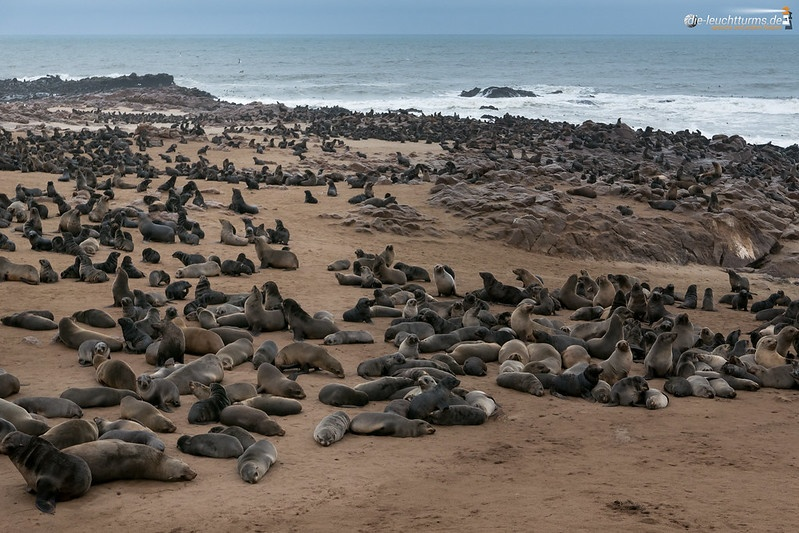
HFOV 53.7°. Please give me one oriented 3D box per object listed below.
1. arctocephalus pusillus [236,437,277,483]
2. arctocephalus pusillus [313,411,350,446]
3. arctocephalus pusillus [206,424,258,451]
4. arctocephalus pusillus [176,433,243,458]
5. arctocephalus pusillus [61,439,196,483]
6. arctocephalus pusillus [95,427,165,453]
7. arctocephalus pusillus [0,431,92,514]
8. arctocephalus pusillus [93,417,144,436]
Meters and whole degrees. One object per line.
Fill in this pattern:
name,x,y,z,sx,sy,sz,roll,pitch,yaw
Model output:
arctocephalus pusillus,-1.946,2.531,10.415,0.570,0.249,0.910,5,17,0
arctocephalus pusillus,-0.962,2.239,11.138,0.448,0.222,0.770,2,23,15
arctocephalus pusillus,-2.262,2.276,10.670,0.510,0.140,0.329,16,5,4
arctocephalus pusillus,-2.501,2.379,10.467,0.819,0.204,0.335,4,2,3
arctocephalus pusillus,-3.460,2.440,9.940,1.132,0.248,0.691,13,7,-8
arctocephalus pusillus,-3.469,2.242,10.351,0.663,0.155,0.378,2,-4,18
arctocephalus pusillus,-4.305,2.435,9.558,1.119,0.361,1.012,24,13,8
arctocephalus pusillus,-3.666,2.110,10.582,0.865,0.195,0.385,3,-4,14
